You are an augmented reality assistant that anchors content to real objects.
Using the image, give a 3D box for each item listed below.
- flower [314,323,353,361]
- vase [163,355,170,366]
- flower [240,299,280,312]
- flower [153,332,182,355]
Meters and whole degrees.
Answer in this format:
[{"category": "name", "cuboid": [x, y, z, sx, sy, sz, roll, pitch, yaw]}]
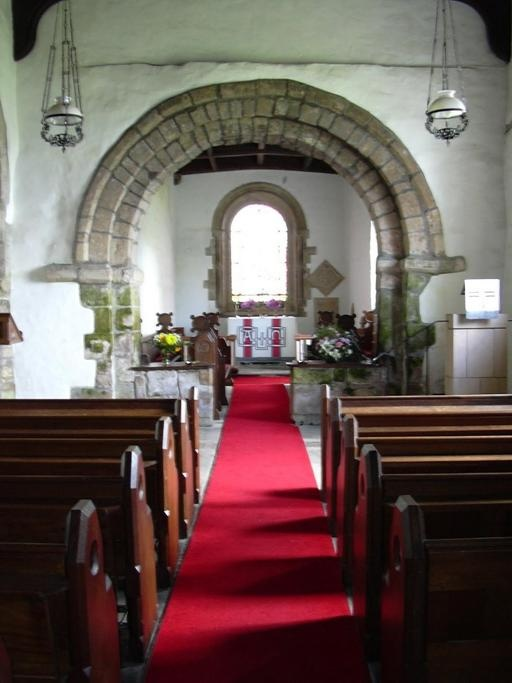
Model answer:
[{"category": "flower", "cuboid": [0.816, 0.039, 6.418, 0.381, 0.347, 0.515, -1, 4, -15]}, {"category": "vase", "cuboid": [-0.936, 0.211, 6.307, 0.069, 0.118, 0.066, -5, 13, -18]}, {"category": "flower", "cuboid": [0.101, -0.665, 11.918, 0.907, 0.221, 0.246, 0, 4, -2]}, {"category": "flower", "cuboid": [-0.931, 0.039, 6.325, 0.264, 0.227, 0.685, 0, 4, -9]}]
